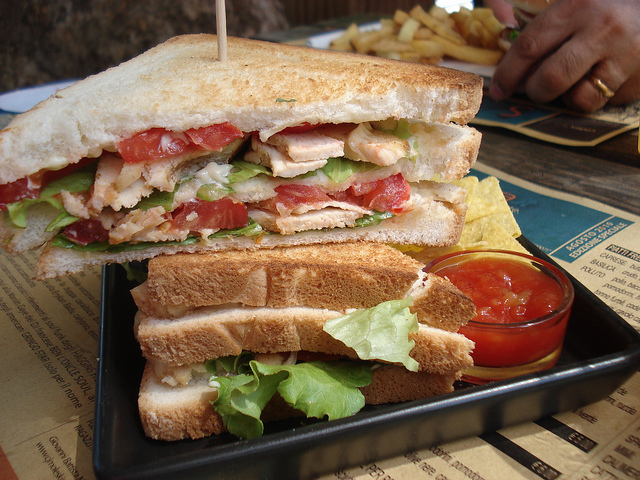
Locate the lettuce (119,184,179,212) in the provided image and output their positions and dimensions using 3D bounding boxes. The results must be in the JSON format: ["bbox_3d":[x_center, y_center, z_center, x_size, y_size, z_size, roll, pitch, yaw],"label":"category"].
[{"bbox_3d":[-0.550,-0.128,1.958,0.205,0.064,0.063,-15,47,-19],"label":"lettuce"}]

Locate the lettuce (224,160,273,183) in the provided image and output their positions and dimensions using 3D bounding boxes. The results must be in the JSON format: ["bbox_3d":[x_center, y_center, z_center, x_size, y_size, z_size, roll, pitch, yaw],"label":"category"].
[{"bbox_3d":[-0.242,-0.228,2.023,0.107,0.029,0.096,0,14,-24],"label":"lettuce"}]

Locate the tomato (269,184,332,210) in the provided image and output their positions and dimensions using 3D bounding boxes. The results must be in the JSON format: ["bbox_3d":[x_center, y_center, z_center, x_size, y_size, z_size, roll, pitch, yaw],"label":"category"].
[{"bbox_3d":[-0.073,-0.156,2.060,0.156,0.037,0.101,-5,26,-23],"label":"tomato"}]

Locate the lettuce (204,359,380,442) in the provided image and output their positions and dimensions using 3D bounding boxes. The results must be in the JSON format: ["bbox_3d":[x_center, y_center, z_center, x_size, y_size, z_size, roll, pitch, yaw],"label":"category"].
[{"bbox_3d":[-0.131,0.409,1.782,0.364,0.100,0.328,7,15,40],"label":"lettuce"}]

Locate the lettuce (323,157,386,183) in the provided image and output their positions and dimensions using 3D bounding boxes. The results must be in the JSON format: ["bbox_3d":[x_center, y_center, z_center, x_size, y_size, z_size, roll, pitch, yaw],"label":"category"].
[{"bbox_3d":[0.122,-0.256,2.077,0.151,0.038,0.109,-8,31,-30],"label":"lettuce"}]

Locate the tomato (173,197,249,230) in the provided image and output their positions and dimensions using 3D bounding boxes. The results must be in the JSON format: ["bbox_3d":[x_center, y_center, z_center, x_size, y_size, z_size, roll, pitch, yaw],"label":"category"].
[{"bbox_3d":[-0.359,-0.085,1.992,0.164,0.047,0.157,-9,-11,33],"label":"tomato"}]

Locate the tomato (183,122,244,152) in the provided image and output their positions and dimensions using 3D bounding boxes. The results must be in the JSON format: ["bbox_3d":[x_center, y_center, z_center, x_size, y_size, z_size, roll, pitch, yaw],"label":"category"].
[{"bbox_3d":[-0.345,-0.344,1.965,0.130,0.039,0.130,-25,37,-38],"label":"tomato"}]

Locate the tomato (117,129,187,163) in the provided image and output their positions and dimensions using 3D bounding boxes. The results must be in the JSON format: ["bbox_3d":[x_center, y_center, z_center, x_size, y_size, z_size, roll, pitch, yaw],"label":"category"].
[{"bbox_3d":[-0.546,-0.308,1.930,0.190,0.038,0.102,-11,50,-17],"label":"tomato"}]
